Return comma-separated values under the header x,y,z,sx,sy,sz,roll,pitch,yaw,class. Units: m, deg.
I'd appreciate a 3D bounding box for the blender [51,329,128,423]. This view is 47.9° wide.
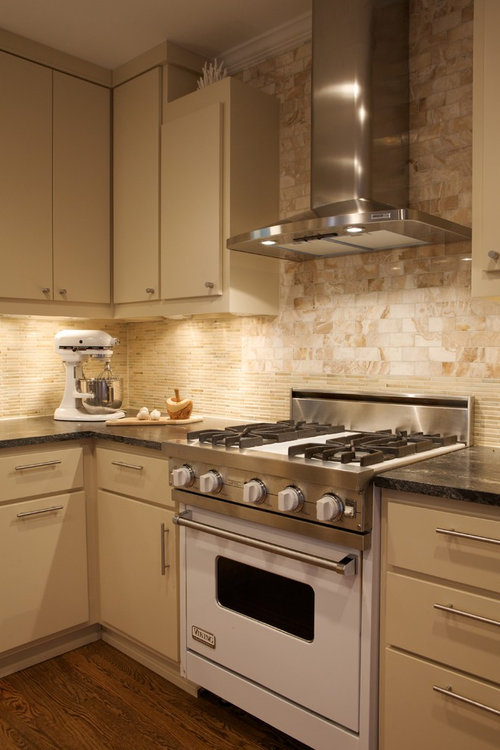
x,y,z,sx,sy,sz,roll,pitch,yaw,class
-0.714,0.007,2.468,0.307,0.364,0.217,-1,0,-3,blender
